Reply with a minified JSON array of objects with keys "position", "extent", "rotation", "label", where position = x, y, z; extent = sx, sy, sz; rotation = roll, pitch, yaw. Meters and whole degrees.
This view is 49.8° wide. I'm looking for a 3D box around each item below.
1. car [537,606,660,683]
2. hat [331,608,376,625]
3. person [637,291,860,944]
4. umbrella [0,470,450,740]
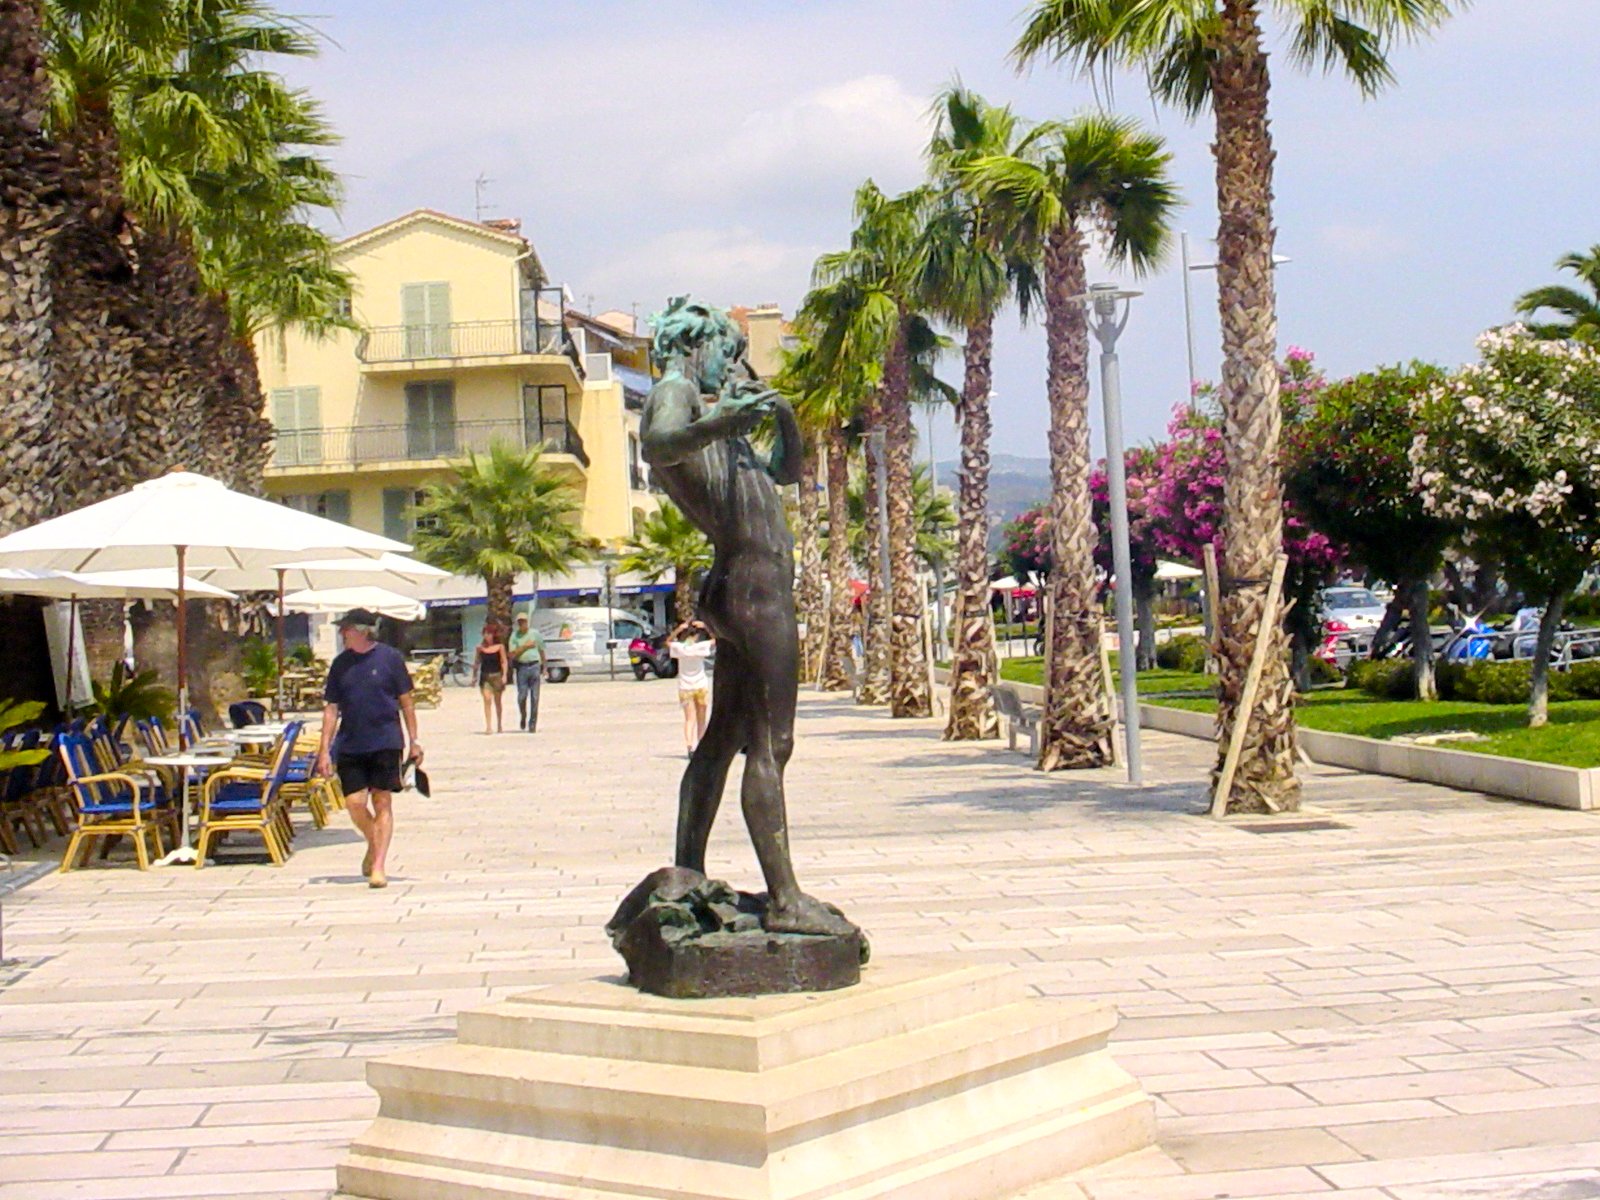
[{"position":[-6.719,1.366,56.479],"extent":[3.192,1.777,2.080],"rotation":[-3,2,-6],"label":"car"},{"position":[-3.398,0.109,13.318],"extent":[0.210,0.120,0.156],"rotation":[8,-11,-22],"label":"hat"},{"position":[-0.248,0.042,7.635],"extent":[0.867,2.790,0.886],"rotation":[-1,1,-6],"label":"person"},{"position":[-5.304,-0.281,15.005],"extent":[2.757,1.832,2.869],"rotation":[1,-2,-7],"label":"umbrella"}]
